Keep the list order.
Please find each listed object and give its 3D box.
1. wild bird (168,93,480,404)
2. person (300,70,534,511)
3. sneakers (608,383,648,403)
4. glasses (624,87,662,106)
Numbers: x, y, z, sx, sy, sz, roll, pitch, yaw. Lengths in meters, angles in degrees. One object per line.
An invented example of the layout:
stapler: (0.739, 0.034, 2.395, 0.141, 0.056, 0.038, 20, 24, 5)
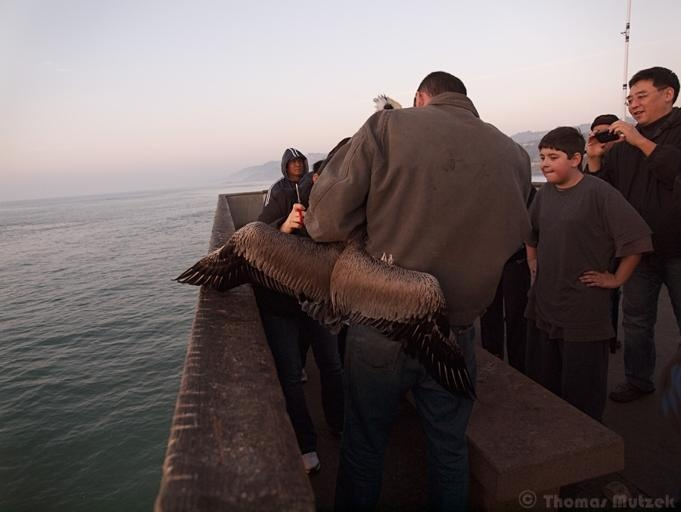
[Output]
wild bird: (0.125, 0.378, 4.001, 2.897, 1.207, 1.126, 19, -14, 8)
person: (0.495, 0.369, 2.924, 1.288, 2.578, 0.530, -6, 13, -5)
sneakers: (2.633, 1.245, 4.602, 0.404, 0.158, 0.146, -6, 5, -1)
glasses: (2.728, -1.441, 4.519, 0.152, 0.144, 0.279, -15, 16, -38)
